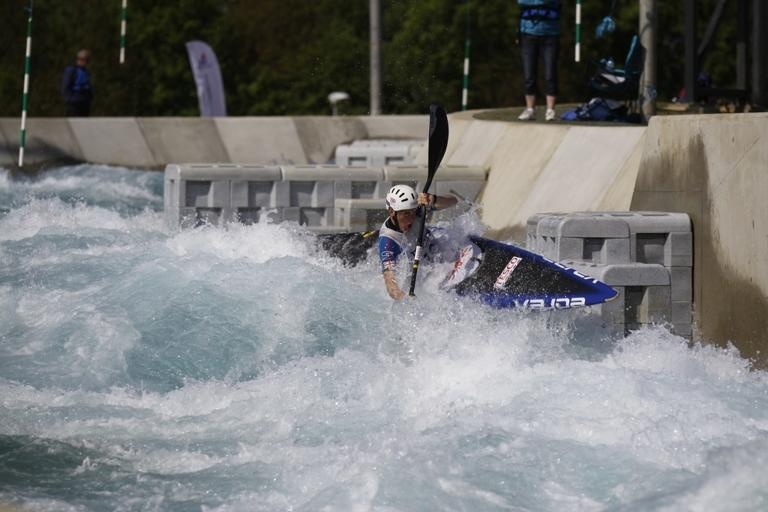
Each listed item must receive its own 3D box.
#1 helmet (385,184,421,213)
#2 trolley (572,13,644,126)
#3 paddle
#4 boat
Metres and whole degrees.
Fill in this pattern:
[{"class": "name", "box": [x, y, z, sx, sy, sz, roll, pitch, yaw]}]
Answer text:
[{"class": "helmet", "box": [0.278, -0.829, 20.864, 0.461, 0.397, 0.295, -3, 26, 2]}, {"class": "trolley", "box": [3.874, -3.615, 24.398, 1.136, 1.178, 2.905, 1, 46, 1]}, {"class": "paddle", "box": [0.686, -0.897, 21.480, 0.623, 2.858, 0.717, 0, -9, 3]}, {"class": "boat", "box": [1.074, 0.155, 20.928, 4.984, 0.808, 0.888, 17, 33, 35]}]
